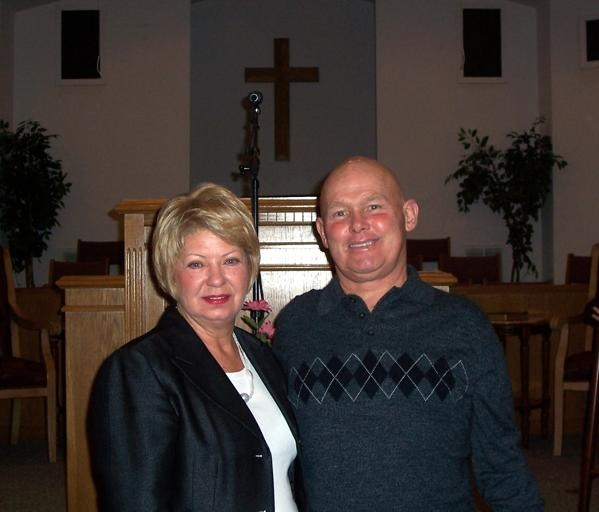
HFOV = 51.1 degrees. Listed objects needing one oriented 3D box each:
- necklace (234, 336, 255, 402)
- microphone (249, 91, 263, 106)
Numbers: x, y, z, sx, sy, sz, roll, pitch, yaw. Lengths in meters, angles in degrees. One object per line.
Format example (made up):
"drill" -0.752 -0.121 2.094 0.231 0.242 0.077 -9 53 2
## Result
"necklace" -0.201 0.416 2.231 0.075 0.149 0.033 -19 -5 17
"microphone" -0.196 -0.738 2.942 0.073 0.088 0.023 5 10 22
